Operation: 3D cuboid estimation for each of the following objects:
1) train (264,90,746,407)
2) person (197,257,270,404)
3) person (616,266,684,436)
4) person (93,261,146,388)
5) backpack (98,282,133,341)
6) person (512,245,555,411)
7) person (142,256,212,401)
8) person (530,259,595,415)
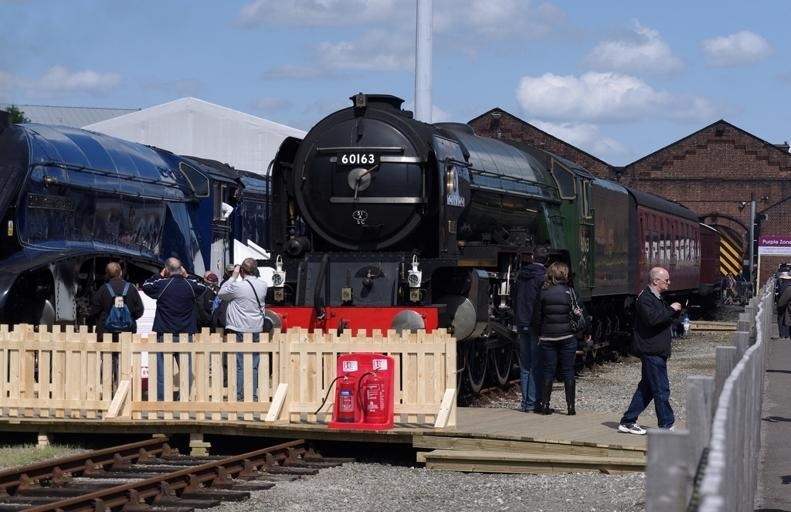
[{"bbox_3d":[4.077,-0.030,26.144,4.073,4.905,18.968,-2,-4,32],"label":"train"},{"bbox_3d":[-2.544,1.128,16.803,0.830,2.352,0.886,0,0,1],"label":"person"},{"bbox_3d":[3.863,1.406,15.544,0.772,2.431,1.086,4,-3,-41],"label":"person"},{"bbox_3d":[-4.595,1.166,17.547,0.817,2.111,0.687,2,21,-12],"label":"person"},{"bbox_3d":[-4.513,0.912,17.026,0.416,0.876,0.432,0,-1,2],"label":"backpack"},{"bbox_3d":[2.249,1.295,17.269,0.653,2.306,0.797,0,0,5],"label":"person"},{"bbox_3d":[-3.560,0.998,16.930,1.036,2.492,0.858,0,0,2],"label":"person"},{"bbox_3d":[2.630,1.312,16.764,0.750,2.438,0.604,1,9,10],"label":"person"}]
